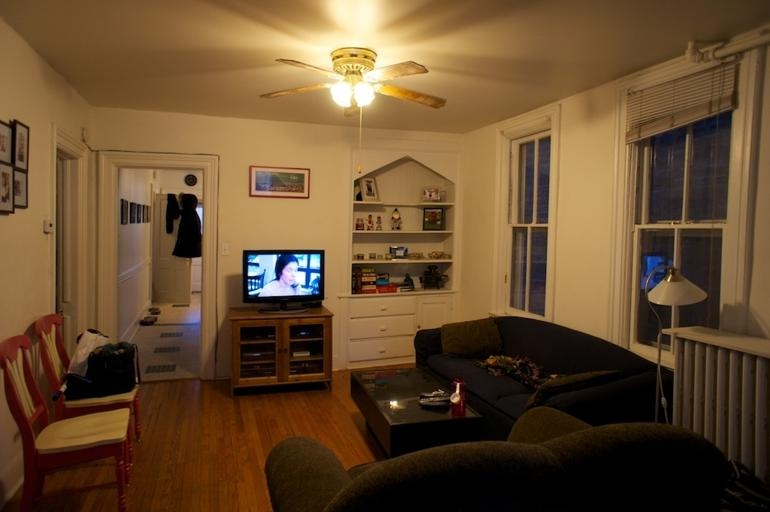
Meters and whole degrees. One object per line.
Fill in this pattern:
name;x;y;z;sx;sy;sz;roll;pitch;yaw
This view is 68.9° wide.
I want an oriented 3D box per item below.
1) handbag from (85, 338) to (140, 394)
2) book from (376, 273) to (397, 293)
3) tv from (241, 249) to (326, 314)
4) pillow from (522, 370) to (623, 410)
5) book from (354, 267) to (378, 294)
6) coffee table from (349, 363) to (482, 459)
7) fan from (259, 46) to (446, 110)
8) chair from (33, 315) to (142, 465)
handbag;-2.333;0.931;4.668;0.403;0.407;0.430;5;3;39
book;-0.024;0.338;6.833;0.285;0.263;0.206;1;-4;-27
tv;-1.100;0.264;6.004;0.706;0.476;0.189;0;2;-11
pillow;1.453;1.035;4.276;0.758;0.277;0.178;-2;13;-14
book;-0.248;0.285;6.681;0.298;0.282;0.196;0;13;-7
coffee table;0.246;1.050;4.504;0.560;0.241;1.077;0;2;-14
fan;-0.215;-1.427;4.558;1.192;0.458;1.424;-1;13;-13
chair;-2.484;0.974;4.816;0.913;1.318;0.971;-3;4;-14
